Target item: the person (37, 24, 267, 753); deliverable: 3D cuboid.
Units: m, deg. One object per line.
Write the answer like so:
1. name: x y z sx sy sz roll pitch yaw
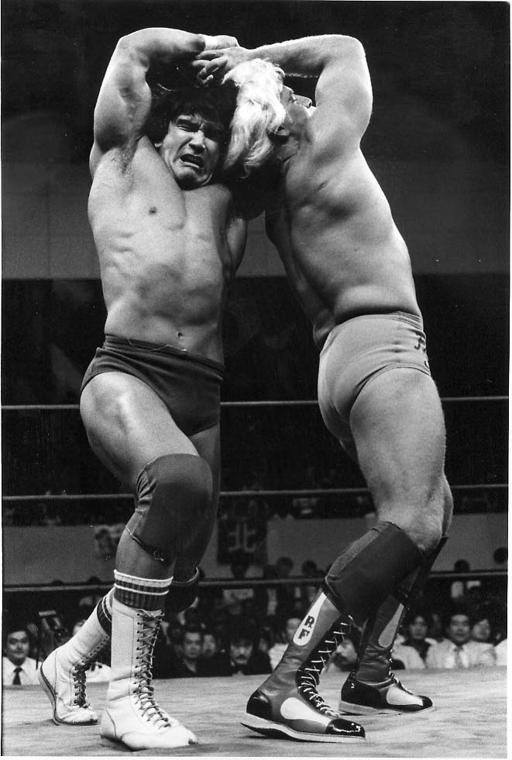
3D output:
1. person: -0.255 -0.017 3.914 0.434 1.575 0.472 4 1 -6

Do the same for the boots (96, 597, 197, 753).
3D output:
1. boots: -0.255 0.725 3.762 0.237 0.309 0.101 4 1 -4
